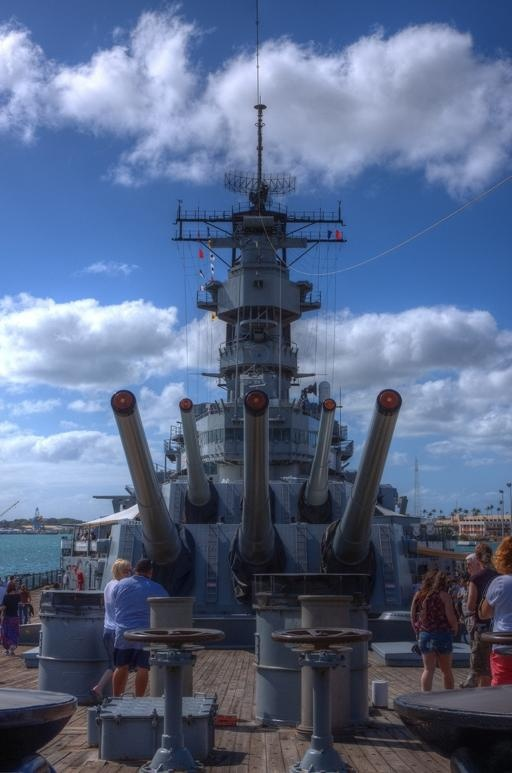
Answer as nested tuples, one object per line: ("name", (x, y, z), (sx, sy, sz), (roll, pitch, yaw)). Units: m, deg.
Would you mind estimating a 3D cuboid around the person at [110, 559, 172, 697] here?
("person", (-0.947, 2.036, 7.024), (0.467, 1.294, 0.347), (4, 13, -6))
